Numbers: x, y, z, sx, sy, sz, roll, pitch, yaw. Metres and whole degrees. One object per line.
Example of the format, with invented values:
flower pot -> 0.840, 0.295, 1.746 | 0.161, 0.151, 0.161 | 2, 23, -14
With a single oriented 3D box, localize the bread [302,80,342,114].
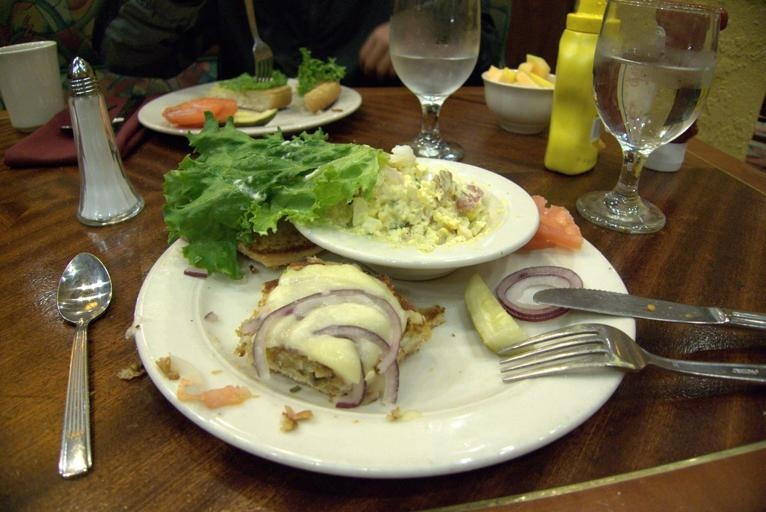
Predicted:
bread -> -0.329, -0.844, 3.243 | 0.136, 0.090, 0.257 | -5, 32, 28

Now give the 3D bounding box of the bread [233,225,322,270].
bread -> -0.383, -0.033, 2.251 | 0.198, 0.052, 0.196 | 11, 28, 2

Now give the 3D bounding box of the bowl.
bowl -> 0.678, -0.763, 3.086 | 0.314, 0.186, 0.303 | 2, 35, -1

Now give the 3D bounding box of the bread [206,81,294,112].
bread -> -0.768, -0.921, 3.451 | 0.442, 0.133, 0.243 | 12, 29, 25
